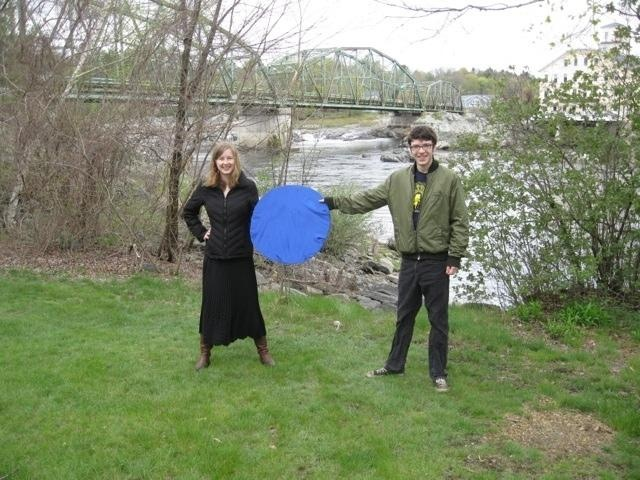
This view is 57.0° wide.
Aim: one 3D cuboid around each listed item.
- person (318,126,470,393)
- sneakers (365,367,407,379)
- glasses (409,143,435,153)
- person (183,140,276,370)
[{"bbox_3d":[1.181,0.207,6.767,0.943,2.966,0.473,4,13,15],"label":"person"},{"bbox_3d":[0.802,1.583,7.126,0.459,0.208,0.166,3,-3,-2],"label":"sneakers"},{"bbox_3d":[1.149,-1.048,6.682,0.275,0.130,0.195,3,14,8],"label":"glasses"},{"bbox_3d":[-1.098,0.201,7.160,0.997,2.702,0.678,-1,12,-7],"label":"person"}]
